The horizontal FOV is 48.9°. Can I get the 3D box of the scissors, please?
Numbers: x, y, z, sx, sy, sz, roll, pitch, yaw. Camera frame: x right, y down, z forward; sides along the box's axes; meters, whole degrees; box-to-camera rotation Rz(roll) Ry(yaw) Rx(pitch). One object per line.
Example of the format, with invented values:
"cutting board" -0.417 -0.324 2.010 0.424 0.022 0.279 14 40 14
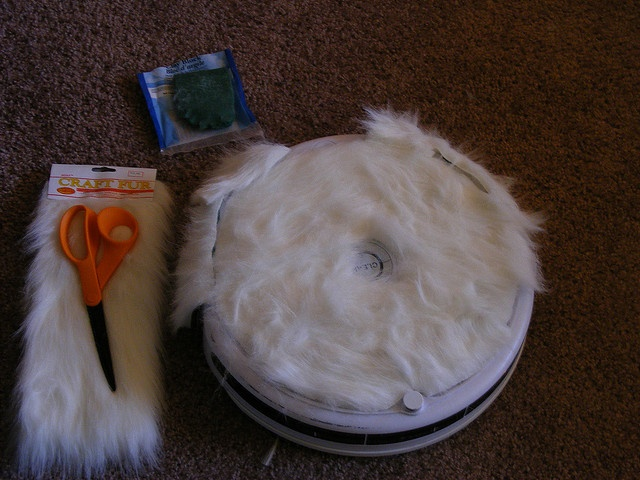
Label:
"scissors" -0.387 0.066 1.176 0.128 0.060 0.328 -1 66 -15
